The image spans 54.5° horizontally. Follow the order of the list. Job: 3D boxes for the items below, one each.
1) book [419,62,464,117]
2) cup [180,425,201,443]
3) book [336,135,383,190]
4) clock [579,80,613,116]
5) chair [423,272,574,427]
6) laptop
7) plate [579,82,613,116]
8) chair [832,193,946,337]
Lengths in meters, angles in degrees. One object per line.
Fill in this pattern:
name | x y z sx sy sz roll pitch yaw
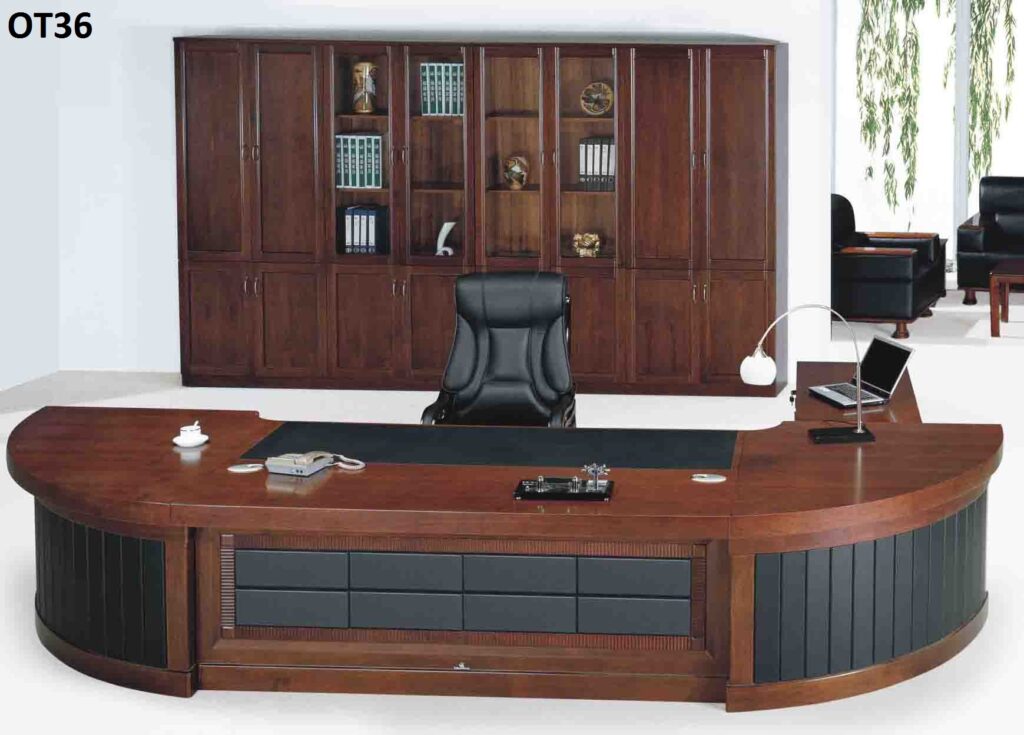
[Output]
book | -0.501 -2.017 7.465 0.358 0.444 0.468 0 9 3
cup | -1.321 0.275 4.098 0.079 0.050 0.061 0 2 -29
book | -1.058 -1.496 7.485 0.496 0.451 0.348 1 10 1
clock | 0.624 -1.966 7.236 0.272 0.255 0.035 2 6 8
chair | 0.140 -0.122 5.340 0.710 0.968 0.834 0 5 9
laptop | 1.628 0.041 4.642 0.385 0.267 0.374 0 8 -16
plate | 0.613 -1.952 7.248 0.240 0.243 0.072 -1 13 3
chair | 3.362 -0.843 9.176 1.266 1.310 1.761 1 9 15
